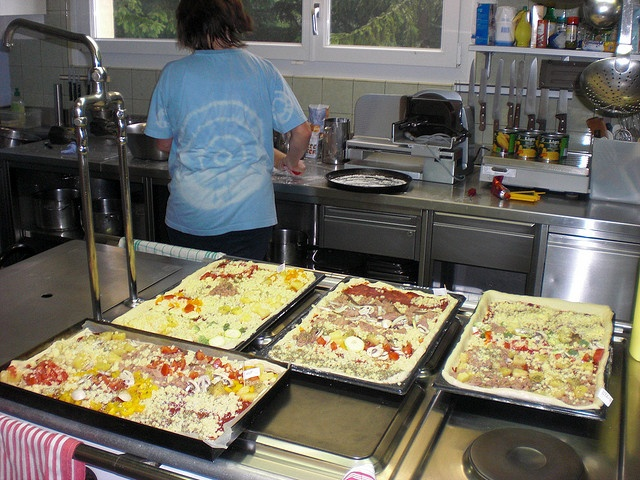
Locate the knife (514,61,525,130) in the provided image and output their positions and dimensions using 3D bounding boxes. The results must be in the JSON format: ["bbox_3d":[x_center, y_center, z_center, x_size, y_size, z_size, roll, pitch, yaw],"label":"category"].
[{"bbox_3d":[1.190,-0.853,2.981,0.062,0.516,0.026,-4,59,15],"label":"knife"}]

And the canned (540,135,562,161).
[{"bbox_3d":[1.199,-0.485,2.653,0.124,0.129,0.127,4,14,23],"label":"canned"}]

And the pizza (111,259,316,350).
[{"bbox_3d":[-0.250,0.178,1.471,0.337,0.060,0.470,24,30,29],"label":"pizza"}]

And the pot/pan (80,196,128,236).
[{"bbox_3d":[-1.336,-0.152,3.167,0.224,0.204,0.232,13,39,-9],"label":"pot/pan"}]

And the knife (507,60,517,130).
[{"bbox_3d":[1.150,-0.826,2.991,0.063,0.567,0.026,1,59,19],"label":"knife"}]

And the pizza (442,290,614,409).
[{"bbox_3d":[0.521,0.268,1.238,0.323,0.080,0.529,5,20,28],"label":"pizza"}]

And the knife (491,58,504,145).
[{"bbox_3d":[1.060,-0.797,3.027,0.075,0.548,0.013,5,18,23],"label":"knife"}]

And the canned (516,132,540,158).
[{"bbox_3d":[1.111,-0.514,2.730,0.101,0.141,0.125,-5,18,-16],"label":"canned"}]

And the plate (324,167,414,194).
[{"bbox_3d":[0.262,-0.329,2.779,0.466,0.083,0.340,4,18,9],"label":"plate"}]

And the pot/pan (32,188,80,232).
[{"bbox_3d":[-1.657,-0.171,3.259,0.313,0.229,0.281,-2,13,-9],"label":"pot/pan"}]

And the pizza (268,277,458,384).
[{"bbox_3d":[0.138,0.234,1.358,0.387,0.085,0.579,10,20,27],"label":"pizza"}]

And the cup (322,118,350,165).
[{"bbox_3d":[0.096,-0.632,3.225,0.183,0.281,0.141,2,17,3],"label":"cup"}]

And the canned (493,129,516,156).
[{"bbox_3d":[1.024,-0.545,2.797,0.140,0.149,0.138,-14,21,-37],"label":"canned"}]

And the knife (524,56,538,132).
[{"bbox_3d":[1.216,-0.812,2.900,0.067,0.477,0.027,5,6,15],"label":"knife"}]

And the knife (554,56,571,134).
[{"bbox_3d":[1.373,-0.841,2.856,0.098,0.475,0.033,-2,12,-8],"label":"knife"}]
